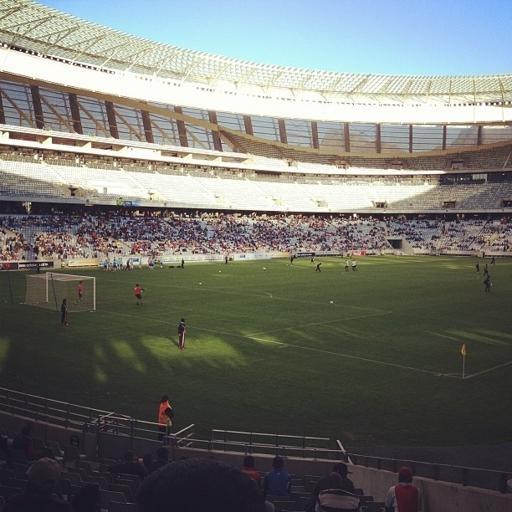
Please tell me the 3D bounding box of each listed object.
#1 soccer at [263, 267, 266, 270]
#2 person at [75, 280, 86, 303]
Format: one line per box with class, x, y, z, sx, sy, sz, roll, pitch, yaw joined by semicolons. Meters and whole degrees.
soccer;0.774;1.285;66.070;0.304;0.264;0.758;-1;1;-2
person;-9.996;1.992;37.425;0.427;1.191;1.285;-1;4;-14
